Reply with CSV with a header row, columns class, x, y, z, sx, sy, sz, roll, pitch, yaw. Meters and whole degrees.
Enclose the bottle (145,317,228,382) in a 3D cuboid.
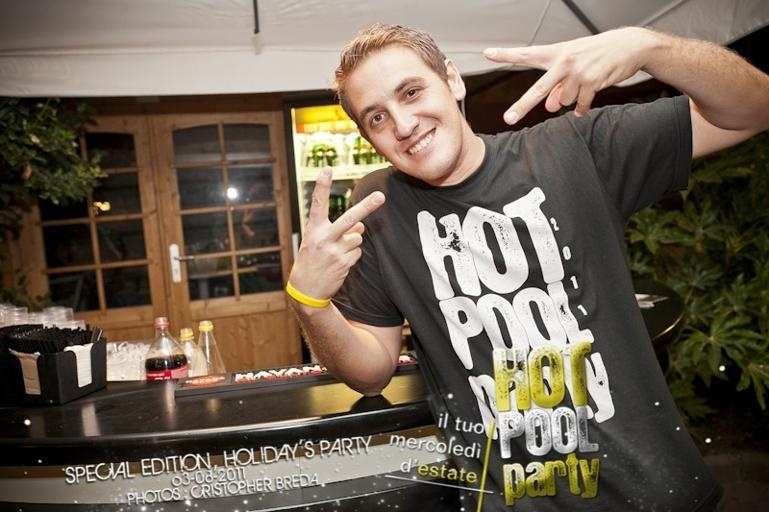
class,x,y,z,sx,sy,sz,roll,pitch,yaw
bottle,-0.950,0.431,2.915,0.355,0.283,0.261,-2,-9,-23
